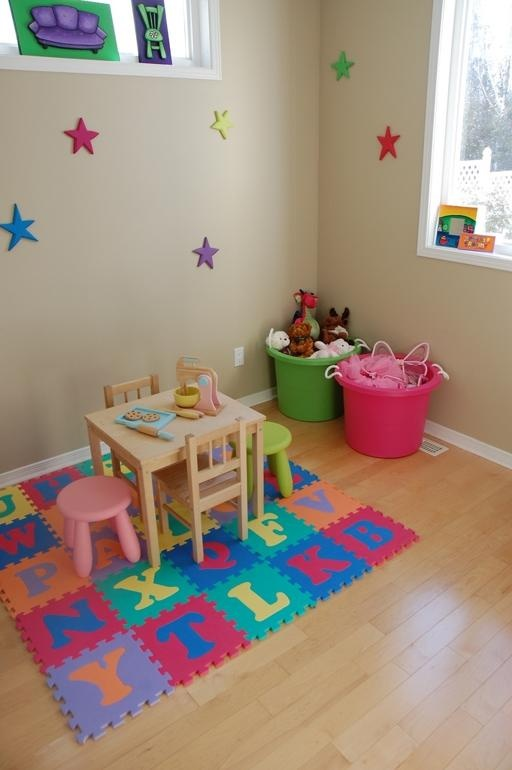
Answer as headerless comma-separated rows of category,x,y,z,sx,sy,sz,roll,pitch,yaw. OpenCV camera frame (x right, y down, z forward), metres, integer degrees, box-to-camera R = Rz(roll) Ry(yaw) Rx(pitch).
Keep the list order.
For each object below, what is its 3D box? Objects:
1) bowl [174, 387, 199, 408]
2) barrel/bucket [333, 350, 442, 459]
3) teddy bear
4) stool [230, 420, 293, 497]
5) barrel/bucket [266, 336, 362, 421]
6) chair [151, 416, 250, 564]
bowl,-0.233,0.036,1.874,0.077,0.048,0.073,0,21,0
barrel/bucket,0.594,0.059,2.485,0.463,0.438,0.475,-2,23,1
teddy bear,0.305,-0.277,2.868,0.394,0.286,0.402,6,22,27
stool,0.060,0.273,2.125,0.247,0.278,0.249,-7,24,-11
barrel/bucket,0.292,-0.005,2.743,0.422,0.319,0.414,0,18,0
chair,-0.184,0.341,1.774,0.229,0.474,0.252,-22,42,-31
